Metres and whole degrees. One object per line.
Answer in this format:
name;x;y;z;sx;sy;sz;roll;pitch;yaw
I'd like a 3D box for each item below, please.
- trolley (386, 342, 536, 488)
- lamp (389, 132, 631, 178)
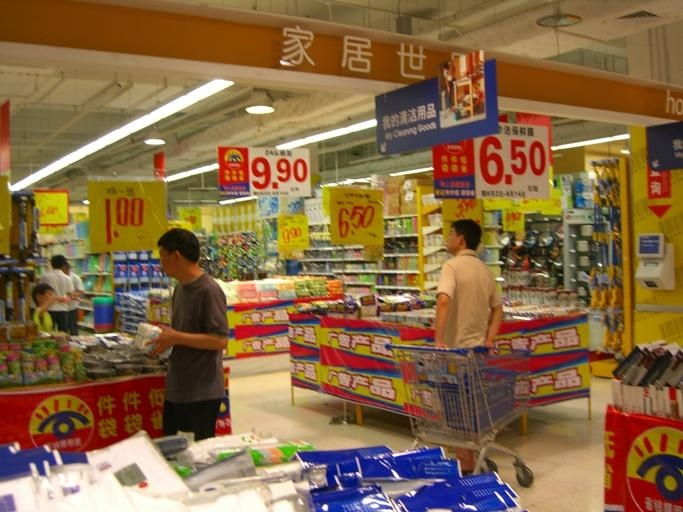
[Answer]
trolley;0.949;1.201;4.102;1.153;1.171;0.678;1;-3;-43
lamp;2.892;-1.577;8.408;3.527;0.136;0.141;-4;-42;42
